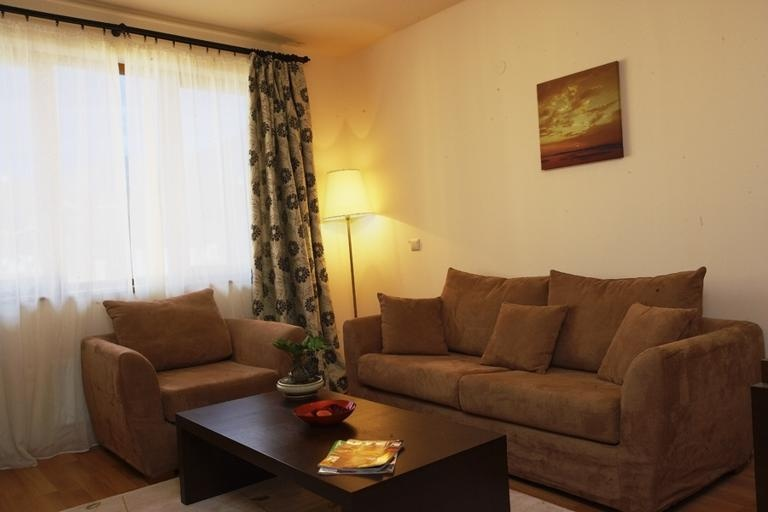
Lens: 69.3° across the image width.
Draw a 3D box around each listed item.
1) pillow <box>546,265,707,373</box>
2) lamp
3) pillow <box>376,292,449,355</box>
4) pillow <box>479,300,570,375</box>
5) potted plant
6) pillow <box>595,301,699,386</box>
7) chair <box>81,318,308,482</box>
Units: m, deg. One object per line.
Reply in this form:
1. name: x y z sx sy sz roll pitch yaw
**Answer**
1. pillow: 1.605 0.428 3.654 0.239 0.485 0.681 16 -14 -37
2. lamp: -0.341 -0.130 5.697 0.507 1.521 0.433 -4 6 -2
3. pillow: 0.234 0.545 4.486 0.476 0.444 0.129 0 -17 5
4. pillow: 1.002 0.570 3.959 0.514 0.477 0.156 5 -19 47
5. potted plant: -0.575 0.728 3.698 0.383 0.378 0.357 0 -8 26
6. pillow: 1.615 0.514 3.463 0.170 0.516 0.540 29 -10 -13
7. chair: -1.525 1.078 4.523 1.487 0.945 1.136 -3 1 -38
